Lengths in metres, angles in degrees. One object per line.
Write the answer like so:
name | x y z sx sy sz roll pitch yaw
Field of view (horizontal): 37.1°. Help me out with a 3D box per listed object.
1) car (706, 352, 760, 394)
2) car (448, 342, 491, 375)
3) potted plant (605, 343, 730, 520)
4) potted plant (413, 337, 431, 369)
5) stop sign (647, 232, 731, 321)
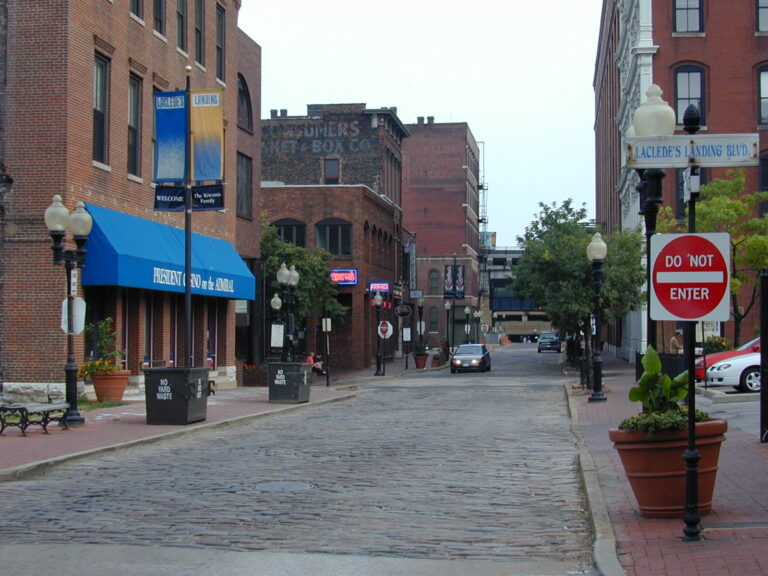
car | 9.673 2.352 31.457 1.838 0.856 0.923 -2 0 5
car | 4.274 3.585 57.693 1.238 1.082 2.879 -2 -8 7
potted plant | 3.736 1.896 15.221 1.361 2.266 0.749 -5 -4 17
potted plant | 1.953 3.623 61.592 1.203 2.308 1.410 0 -6 2
stop sign | 3.812 -0.130 14.270 1.012 1.203 0.016 0 -1 19
